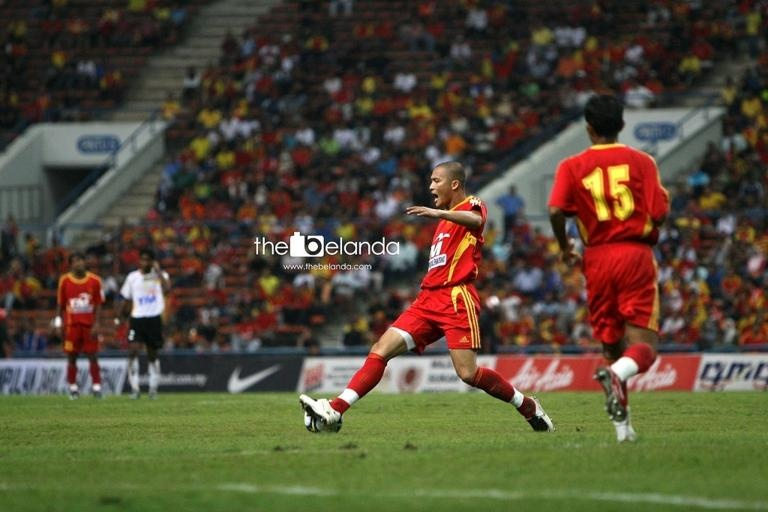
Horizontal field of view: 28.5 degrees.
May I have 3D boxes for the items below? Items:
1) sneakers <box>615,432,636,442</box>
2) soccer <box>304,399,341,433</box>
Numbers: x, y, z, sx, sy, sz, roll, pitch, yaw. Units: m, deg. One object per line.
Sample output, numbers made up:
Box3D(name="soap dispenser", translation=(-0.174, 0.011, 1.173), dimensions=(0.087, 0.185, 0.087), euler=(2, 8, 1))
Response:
Box3D(name="sneakers", translation=(3.906, 2.929, 24.179), dimensions=(0.414, 0.127, 0.201), euler=(0, 0, -32))
Box3D(name="soccer", translation=(-1.026, 2.731, 24.740), dimensions=(0.570, 0.366, 0.260), euler=(25, 21, -5))
